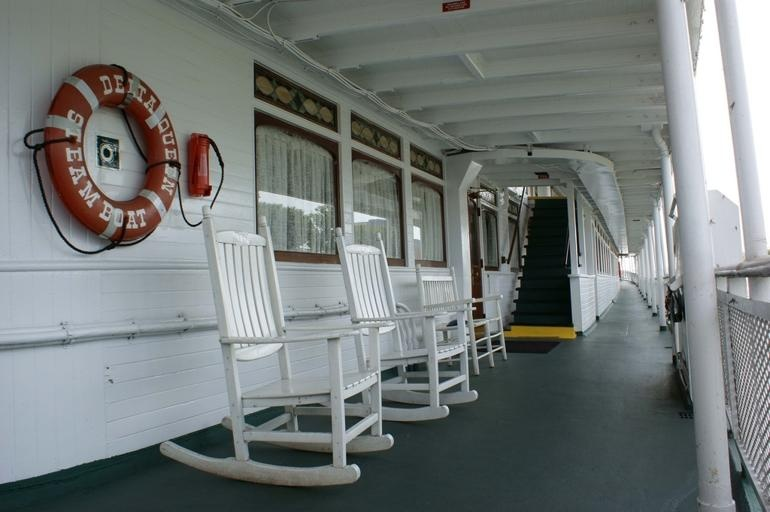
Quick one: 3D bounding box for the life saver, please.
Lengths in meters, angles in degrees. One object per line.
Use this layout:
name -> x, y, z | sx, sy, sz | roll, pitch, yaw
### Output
life saver -> -2.011, -0.761, 3.810 | 0.377, 1.188, 1.338 | 5, 5, 13

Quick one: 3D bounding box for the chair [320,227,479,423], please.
chair -> 0.242, 0.658, 4.861 | 1.176, 1.633, 1.214 | -5, -5, 42
